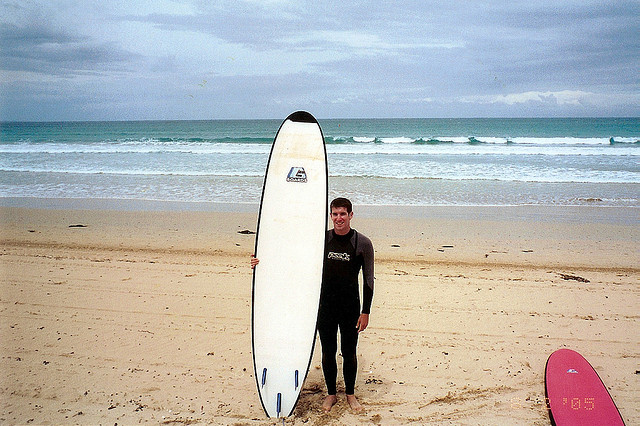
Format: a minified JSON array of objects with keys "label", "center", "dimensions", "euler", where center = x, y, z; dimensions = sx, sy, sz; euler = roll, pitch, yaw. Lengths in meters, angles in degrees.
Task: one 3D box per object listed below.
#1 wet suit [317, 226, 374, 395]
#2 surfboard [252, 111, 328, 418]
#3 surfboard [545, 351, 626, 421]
[{"label":"wet suit","center":[0.367,1.504,8.892],"dimensions":[0.809,2.533,0.517],"euler":[0,13,0]},{"label":"surfboard","center":[-0.322,0.729,9.552],"dimensions":[1.207,4.713,0.864],"euler":[2,-5,15]},{"label":"surfboard","center":[3.981,2.687,9.098],"dimensions":[1.010,0.737,0.934],"euler":[2,11,9]}]
